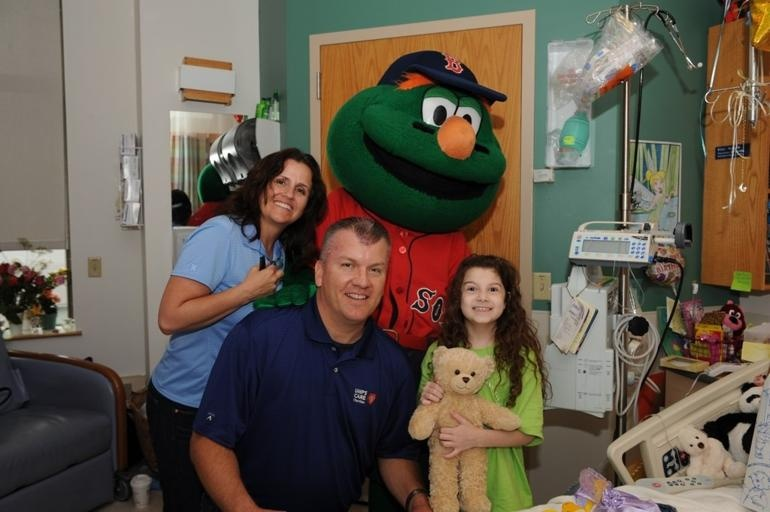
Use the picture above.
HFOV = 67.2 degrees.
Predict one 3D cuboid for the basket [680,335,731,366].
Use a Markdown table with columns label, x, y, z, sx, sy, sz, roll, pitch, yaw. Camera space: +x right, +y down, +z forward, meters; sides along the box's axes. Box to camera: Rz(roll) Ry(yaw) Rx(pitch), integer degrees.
| label | x | y | z | sx | sy | sz | roll | pitch | yaw |
| --- | --- | --- | --- | --- | --- | --- | --- | --- | --- |
| basket | 2.085 | 0.617 | 3.795 | 0.129 | 0.176 | 0.235 | -1 | -3 | -16 |

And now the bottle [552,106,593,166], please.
| label | x | y | z | sx | sy | sz | roll | pitch | yaw |
| --- | --- | --- | --- | --- | --- | --- | --- | --- | --- |
| bottle | 1.160 | -0.721 | 3.538 | 0.215 | 0.337 | 0.174 | 1 | 2 | 15 |

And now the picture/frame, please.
| label | x | y | z | sx | sy | sz | roll | pitch | yaw |
| --- | --- | --- | --- | --- | --- | --- | --- | --- | --- |
| picture/frame | 1.691 | -0.454 | 3.676 | 0.567 | 0.924 | 0.043 | -3 | 6 | -26 |

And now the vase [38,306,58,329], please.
| label | x | y | z | sx | sy | sz | roll | pitch | yaw |
| --- | --- | --- | --- | --- | --- | --- | --- | --- | --- |
| vase | -2.838 | 0.509 | 4.834 | 0.105 | 0.188 | 0.127 | 11 | 18 | 4 |

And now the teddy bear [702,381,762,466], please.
| label | x | y | z | sx | sy | sz | roll | pitch | yaw |
| --- | --- | --- | --- | --- | --- | --- | --- | --- | --- |
| teddy bear | 1.761 | 0.862 | 2.933 | 0.201 | 0.351 | 0.234 | 24 | 3 | -41 |

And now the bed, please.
| label | x | y | z | sx | sy | sz | roll | pitch | yaw |
| --- | --- | --- | --- | --- | --- | --- | --- | --- | --- |
| bed | 1.423 | 0.852 | 3.000 | 1.209 | 0.616 | 0.670 | -22 | 15 | -22 |

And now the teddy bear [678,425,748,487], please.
| label | x | y | z | sx | sy | sz | roll | pitch | yaw |
| --- | --- | --- | --- | --- | --- | --- | --- | --- | --- |
| teddy bear | 1.652 | 1.002 | 2.946 | 0.251 | 0.316 | 0.203 | -37 | 13 | 46 |
